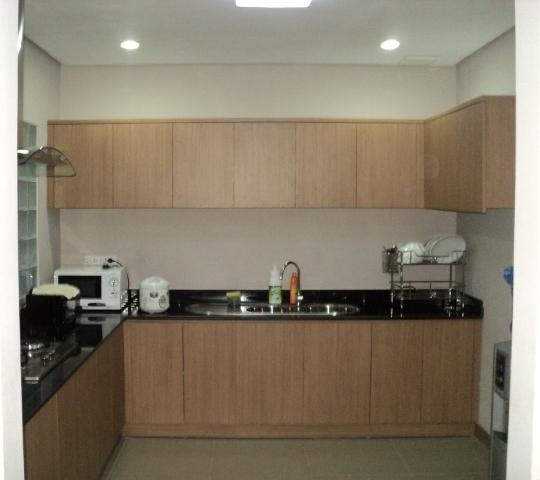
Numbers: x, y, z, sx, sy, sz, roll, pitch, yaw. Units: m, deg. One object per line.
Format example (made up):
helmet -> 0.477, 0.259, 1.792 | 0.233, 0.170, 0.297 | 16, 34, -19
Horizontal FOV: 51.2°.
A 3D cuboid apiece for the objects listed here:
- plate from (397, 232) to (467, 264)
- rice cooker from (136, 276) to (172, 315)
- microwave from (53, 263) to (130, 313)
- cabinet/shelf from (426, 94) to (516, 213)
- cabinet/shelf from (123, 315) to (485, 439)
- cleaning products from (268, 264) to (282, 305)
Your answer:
plate -> 1.201, 0.070, 4.157 | 0.530, 0.224, 0.192 | 1, -8, -5
rice cooker -> -0.816, 0.394, 3.996 | 0.207, 0.256, 0.222 | 1, -3, -5
microwave -> -1.243, 0.342, 4.179 | 0.417, 0.297, 0.320 | 0, -3, -2
cabinet/shelf -> 1.300, -0.549, 3.746 | 0.262, 0.653, 0.967 | -1, 5, -7
cabinet/shelf -> 0.224, 0.906, 3.876 | 2.418, 0.706, 0.574 | 2, -8, -11
cleaning products -> 0.044, 0.347, 4.273 | 0.092, 0.297, 0.268 | 0, -8, 1
